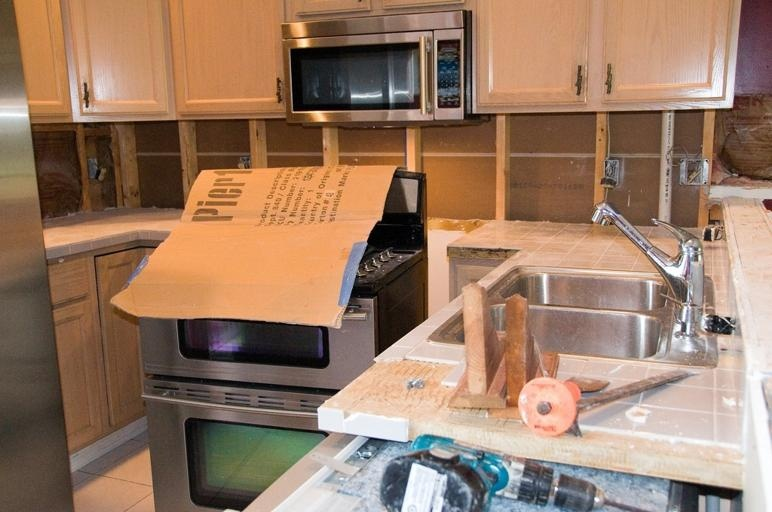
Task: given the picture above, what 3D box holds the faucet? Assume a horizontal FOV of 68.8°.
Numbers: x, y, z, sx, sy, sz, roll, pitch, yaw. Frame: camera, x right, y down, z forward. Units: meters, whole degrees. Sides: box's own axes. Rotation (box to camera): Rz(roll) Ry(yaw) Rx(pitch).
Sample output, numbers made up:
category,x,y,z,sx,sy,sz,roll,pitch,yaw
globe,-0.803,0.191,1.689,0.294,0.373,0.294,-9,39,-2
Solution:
category,x,y,z,sx,sy,sz,roll,pitch,yaw
faucet,0.744,-0.019,1.597,0.286,0.270,0.150,5,16,29
